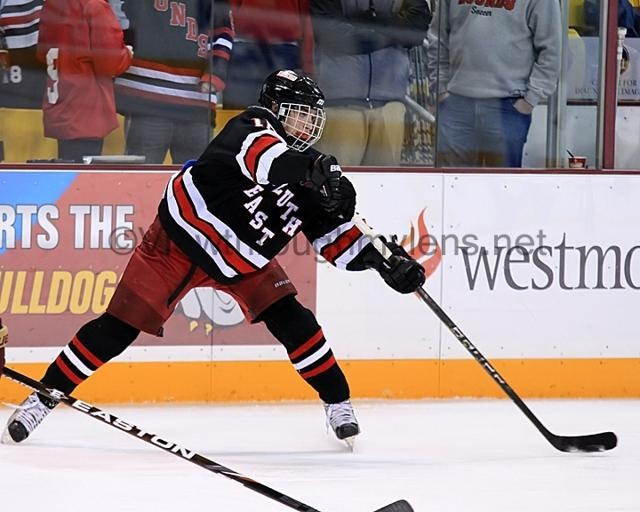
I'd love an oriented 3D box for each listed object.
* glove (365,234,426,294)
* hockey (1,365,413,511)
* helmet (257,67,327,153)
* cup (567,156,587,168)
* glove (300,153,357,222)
[{"bbox_3d":[0.299,0.054,3.906,0.281,0.118,0.176,41,53,16],"label":"glove"},{"bbox_3d":[-0.502,0.751,3.838,1.218,0.101,0.175,20,-14,26],"label":"hockey"},{"bbox_3d":[-0.113,-0.602,3.868,0.294,0.268,0.224,22,15,28],"label":"helmet"},{"bbox_3d":[1.228,-0.448,4.533,0.064,0.043,0.063,0,0,0],"label":"cup"},{"bbox_3d":[0.053,-0.243,3.595,0.100,0.243,0.177,-35,45,-2],"label":"glove"}]
